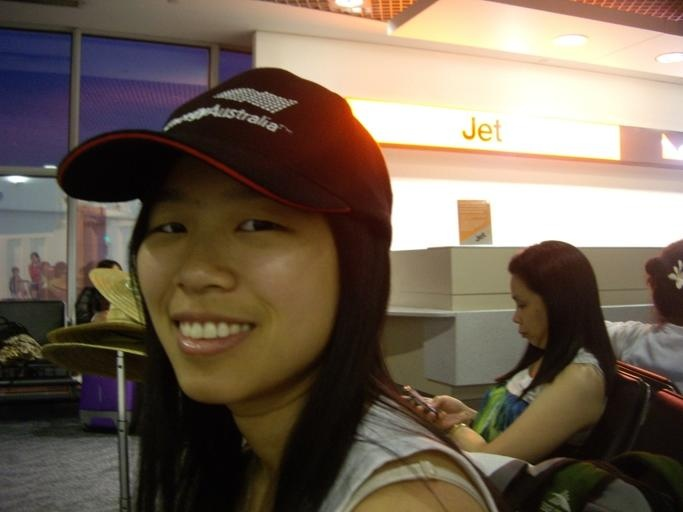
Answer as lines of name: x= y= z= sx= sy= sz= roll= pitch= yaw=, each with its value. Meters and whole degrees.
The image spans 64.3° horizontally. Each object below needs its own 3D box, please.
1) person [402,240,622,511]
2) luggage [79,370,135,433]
person: x=0.670 y=0.516 z=1.962 sx=0.575 sy=1.078 sz=0.554 roll=6 pitch=1 yaw=24
luggage: x=-1.902 y=1.108 z=4.320 sx=0.321 sy=0.522 sz=0.296 roll=4 pitch=-18 yaw=-27
